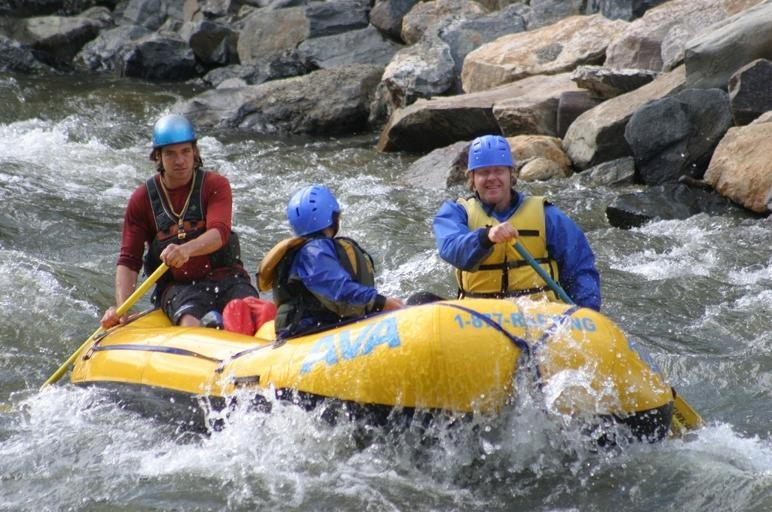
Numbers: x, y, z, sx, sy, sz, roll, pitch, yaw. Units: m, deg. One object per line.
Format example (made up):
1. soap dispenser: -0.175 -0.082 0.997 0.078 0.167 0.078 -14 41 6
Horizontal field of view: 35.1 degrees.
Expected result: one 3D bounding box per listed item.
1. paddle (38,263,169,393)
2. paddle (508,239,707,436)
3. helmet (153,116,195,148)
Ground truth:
1. paddle: -3.734 1.039 16.187 2.450 0.254 0.178 -37 51 -7
2. paddle: 2.767 1.132 15.358 3.087 0.650 0.211 47 21 4
3. helmet: -2.740 -1.622 16.005 0.437 0.312 0.484 -8 9 30
